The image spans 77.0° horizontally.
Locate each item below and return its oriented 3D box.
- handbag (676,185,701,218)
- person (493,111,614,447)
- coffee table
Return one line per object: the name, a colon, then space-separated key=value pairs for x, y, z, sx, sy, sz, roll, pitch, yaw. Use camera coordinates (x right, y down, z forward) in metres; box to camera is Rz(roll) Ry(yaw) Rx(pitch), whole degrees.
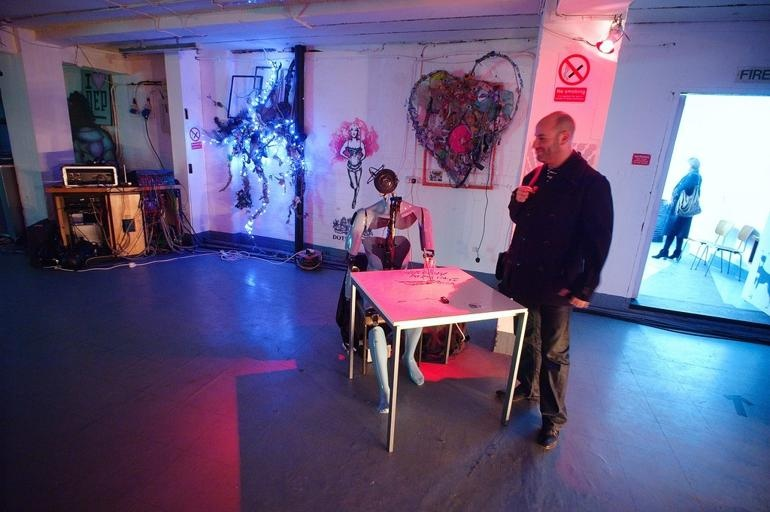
handbag: x=5.359 y=-0.983 z=8.563 sx=0.417 sy=0.505 sz=0.312 roll=6 pitch=31 yaw=28
person: x=1.725 y=0.225 z=5.020 sx=0.569 sy=3.300 sz=0.942 roll=-7 pitch=17 yaw=-37
coffee table: x=0.475 y=1.035 z=5.687 sx=1.700 sy=1.758 sz=1.812 roll=-6 pitch=22 yaw=-16
